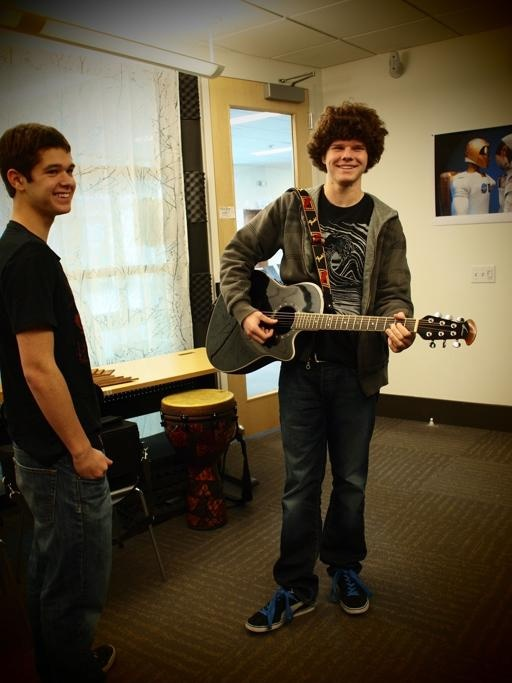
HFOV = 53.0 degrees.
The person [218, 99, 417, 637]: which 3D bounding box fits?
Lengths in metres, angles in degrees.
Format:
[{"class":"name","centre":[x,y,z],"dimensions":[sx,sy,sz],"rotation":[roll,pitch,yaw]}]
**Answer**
[{"class":"person","centre":[0.193,0.098,1.752],"dimensions":[0.661,1.785,0.382],"rotation":[-3,4,16]}]

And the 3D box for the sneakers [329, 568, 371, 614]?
[{"class":"sneakers","centre":[0.344,0.910,1.869],"dimensions":[0.094,0.075,0.165],"rotation":[-3,-8,-4]}]

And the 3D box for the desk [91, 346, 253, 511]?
[{"class":"desk","centre":[-0.493,0.518,2.974],"dimensions":[0.671,0.584,0.517],"rotation":[-12,-8,-23]}]
